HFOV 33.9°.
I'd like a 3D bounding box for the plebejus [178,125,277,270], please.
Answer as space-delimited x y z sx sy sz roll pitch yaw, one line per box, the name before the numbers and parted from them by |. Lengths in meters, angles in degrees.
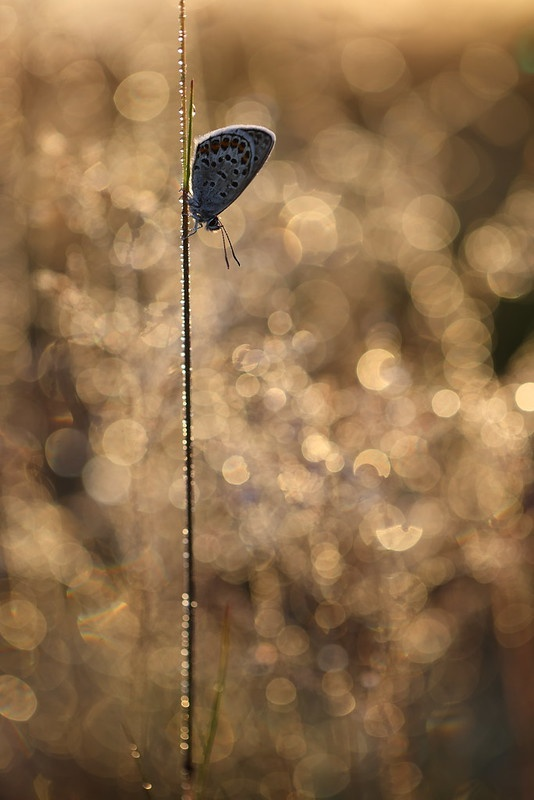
plebejus | -0.067 -0.198 0.918 0.106 0.076 0.149 -3 -23 -16
